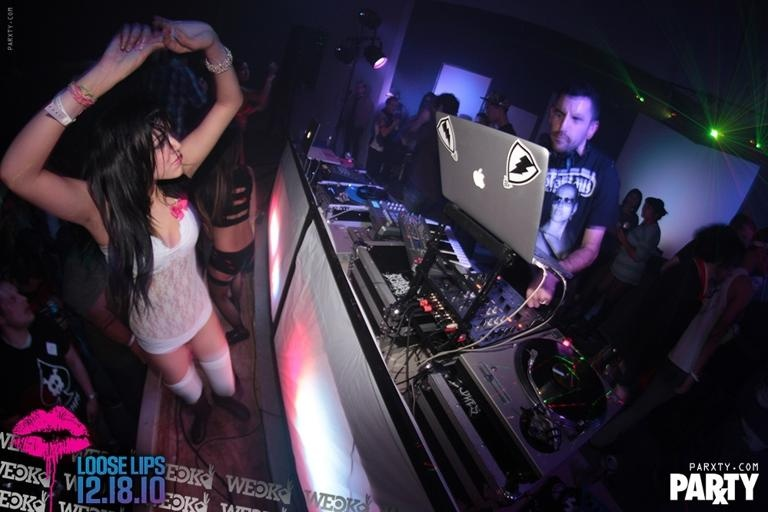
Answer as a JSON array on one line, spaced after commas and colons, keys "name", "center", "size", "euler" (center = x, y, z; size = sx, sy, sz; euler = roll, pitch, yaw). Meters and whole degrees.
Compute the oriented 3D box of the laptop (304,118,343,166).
[{"name": "laptop", "center": [-0.698, -1.081, 5.103], "size": [0.463, 0.355, 0.303], "euler": [-8, 44, -38]}]
